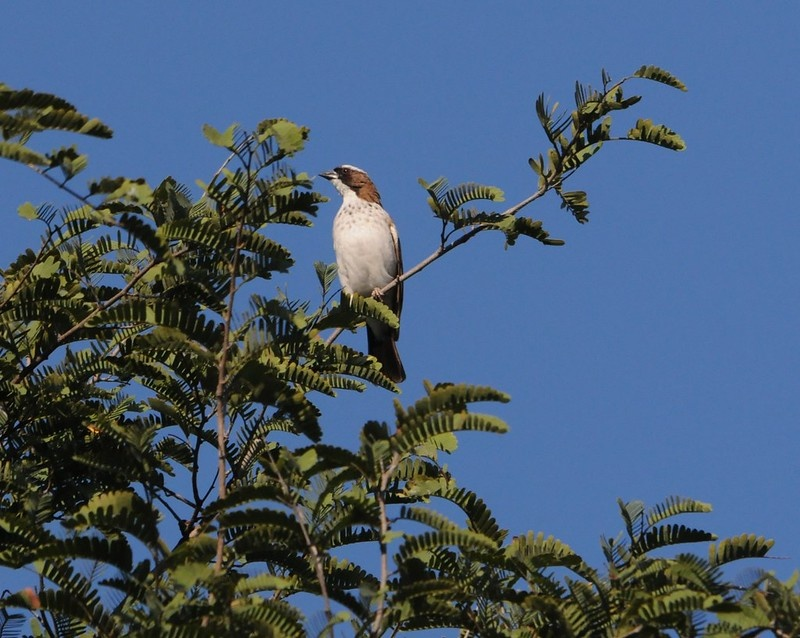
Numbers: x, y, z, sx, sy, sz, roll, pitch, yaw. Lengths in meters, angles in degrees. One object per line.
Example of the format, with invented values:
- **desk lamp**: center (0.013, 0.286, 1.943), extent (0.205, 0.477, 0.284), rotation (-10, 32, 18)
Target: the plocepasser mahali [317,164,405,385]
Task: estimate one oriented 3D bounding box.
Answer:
- **plocepasser mahali**: center (-0.184, -0.347, 10.997), extent (0.346, 0.831, 1.256), rotation (-5, -18, 12)
